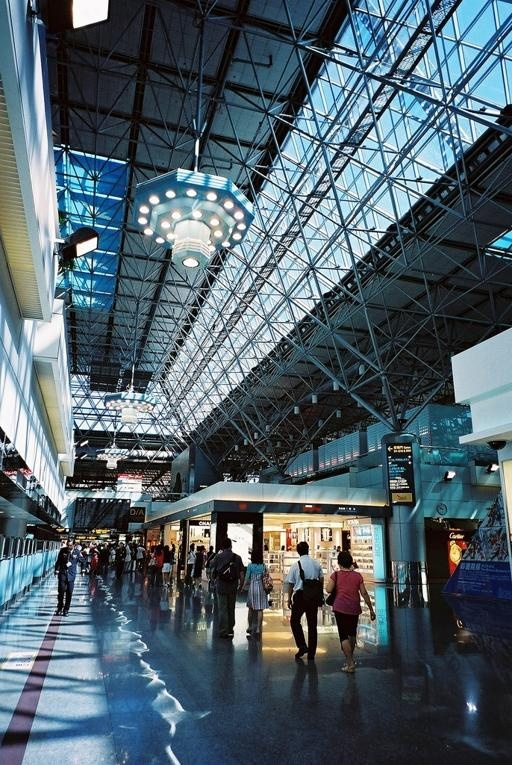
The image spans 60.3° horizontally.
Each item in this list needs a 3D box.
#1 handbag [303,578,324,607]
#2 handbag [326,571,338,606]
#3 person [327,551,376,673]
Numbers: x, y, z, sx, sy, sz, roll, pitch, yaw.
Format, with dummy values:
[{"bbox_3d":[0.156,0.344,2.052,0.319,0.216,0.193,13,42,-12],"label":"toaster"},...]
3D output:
[{"bbox_3d":[0.870,3.218,6.793,0.342,0.364,0.190,14,-35,-27],"label":"handbag"},{"bbox_3d":[1.028,2.749,5.923,0.097,0.400,0.217,4,-5,1],"label":"handbag"},{"bbox_3d":[1.327,3.143,6.168,0.594,1.625,1.427,-3,-15,11],"label":"person"}]
